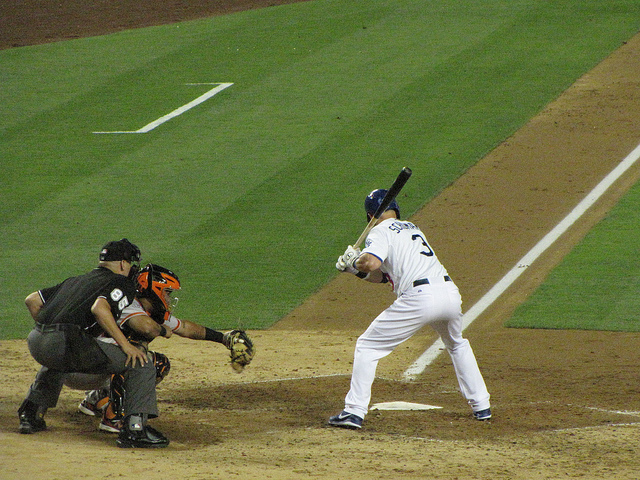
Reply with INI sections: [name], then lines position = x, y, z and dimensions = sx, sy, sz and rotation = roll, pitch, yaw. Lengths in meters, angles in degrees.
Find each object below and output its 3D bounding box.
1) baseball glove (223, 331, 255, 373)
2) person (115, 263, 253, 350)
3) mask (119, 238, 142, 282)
[baseball glove]
position = -1.069, 1.441, 17.390
dimensions = 0.428, 0.530, 0.268
rotation = -4, 31, 3
[person]
position = -1.903, 0.920, 16.907
dimensions = 2.312, 0.950, 1.171
rotation = 6, 4, -21
[mask]
position = -2.403, 0.247, 16.660
dimensions = 0.315, 0.535, 0.489
rotation = 9, 13, -7
